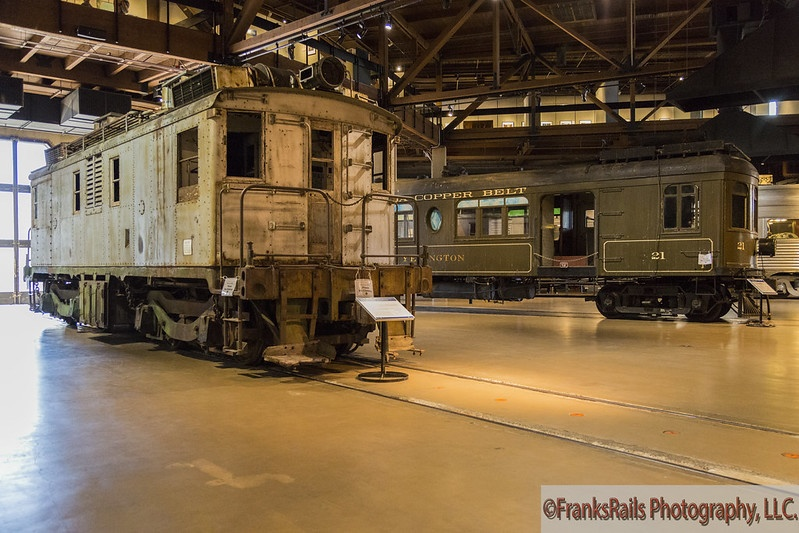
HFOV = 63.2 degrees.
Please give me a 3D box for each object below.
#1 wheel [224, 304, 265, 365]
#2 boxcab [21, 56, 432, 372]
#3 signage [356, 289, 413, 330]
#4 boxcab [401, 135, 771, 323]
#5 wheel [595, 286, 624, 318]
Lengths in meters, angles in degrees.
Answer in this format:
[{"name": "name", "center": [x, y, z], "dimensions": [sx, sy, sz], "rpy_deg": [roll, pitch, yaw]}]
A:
[{"name": "wheel", "center": [-2.848, 1.335, 11.899], "dimensions": [0.264, 1.103, 0.791], "rpy_deg": [-12, 14, -33]}, {"name": "boxcab", "center": [-5.426, -1.028, 16.067], "dimensions": [12.687, 5.753, 4.893], "rpy_deg": [1, 1, 44]}, {"name": "signage", "center": [-0.236, 0.769, 11.408], "dimensions": [0.622, 0.145, 0.686], "rpy_deg": [2, 23, -30]}, {"name": "boxcab", "center": [4.124, -1.082, 21.892], "dimensions": [13.759, 5.344, 2.500], "rpy_deg": [1, 4, 34]}, {"name": "wheel", "center": [6.530, 1.079, 19.816], "dimensions": [0.467, 0.963, 0.834], "rpy_deg": [-4, 10, -35]}]
